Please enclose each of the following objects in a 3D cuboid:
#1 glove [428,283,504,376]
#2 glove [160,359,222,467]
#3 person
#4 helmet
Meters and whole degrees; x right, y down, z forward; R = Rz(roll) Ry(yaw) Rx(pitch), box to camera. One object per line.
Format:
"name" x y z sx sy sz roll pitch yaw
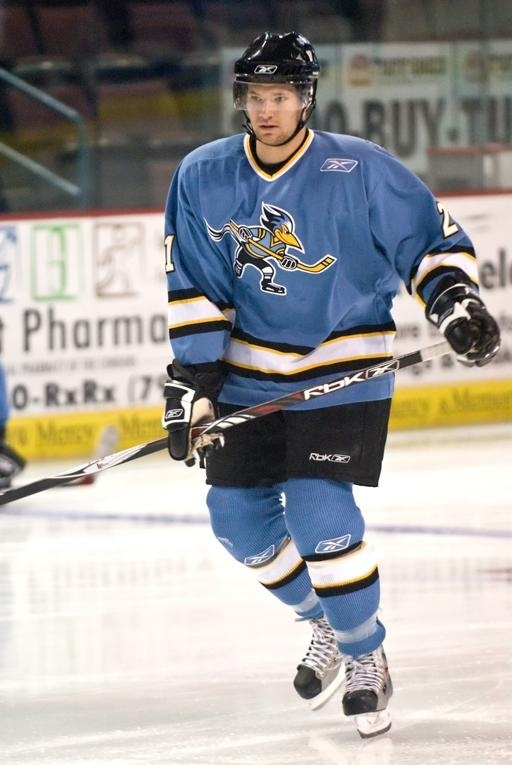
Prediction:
"glove" 0.368 -0.100 1.754 0.106 0.163 0.072 -26 -30 -15
"glove" -0.129 0.056 1.865 0.086 0.212 0.102 1 -9 10
"person" 0.128 -0.007 1.859 0.679 1.345 0.386 -3 10 18
"helmet" 0.046 -0.613 1.858 0.157 0.141 0.168 -1 -6 13
